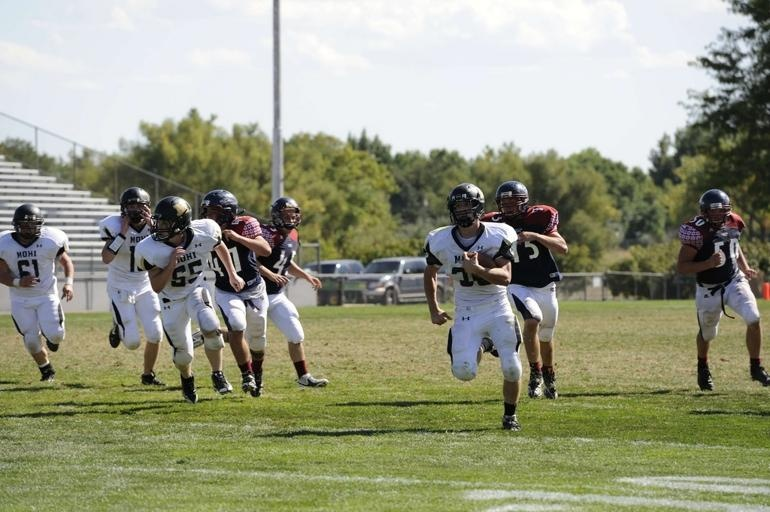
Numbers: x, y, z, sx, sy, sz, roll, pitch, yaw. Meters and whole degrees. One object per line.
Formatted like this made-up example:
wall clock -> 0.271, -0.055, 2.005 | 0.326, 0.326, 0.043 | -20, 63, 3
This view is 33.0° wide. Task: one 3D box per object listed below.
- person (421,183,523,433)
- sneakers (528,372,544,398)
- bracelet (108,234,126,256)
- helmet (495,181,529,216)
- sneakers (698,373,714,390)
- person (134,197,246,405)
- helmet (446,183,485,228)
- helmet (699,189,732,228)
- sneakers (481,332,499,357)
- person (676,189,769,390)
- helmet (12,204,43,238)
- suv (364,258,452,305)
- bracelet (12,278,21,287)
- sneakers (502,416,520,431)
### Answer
person -> 1.088, 0.638, 16.143 | 1.183, 3.073, 0.640 | 0, 0, 4
sneakers -> 2.060, 1.807, 17.769 | 0.137, 0.183, 0.401 | -2, 16, 1
bracelet -> -3.798, -0.165, 18.274 | 0.177, 0.287, 0.104 | 43, 2, -2
helmet -> 1.682, -0.717, 17.848 | 0.391, 0.385, 0.485 | -8, -18, 3
sneakers -> 4.484, 1.791, 18.160 | 0.251, 0.343, 0.212 | -5, -13, 12
person -> -2.658, 0.616, 17.189 | 1.244, 2.745, 0.592 | 1, 0, -33
helmet -> 1.052, -0.675, 16.347 | 0.477, 0.496, 0.587 | -1, 4, 37
helmet -> 4.612, -0.715, 18.330 | 0.436, 0.475, 0.518 | -4, 24, 3
sneakers -> 1.303, 1.166, 16.541 | 0.126, 0.169, 0.400 | -12, 10, -14
person -> 4.725, 0.486, 18.200 | 1.224, 2.821, 0.681 | 0, 0, 11
helmet -> -5.244, -0.507, 18.810 | 0.454, 0.451, 0.560 | -3, 9, -38
suv -> 0.253, 0.748, 36.420 | 2.332, 1.037, 1.235 | 3, -5, -37
bracelet -> -5.318, 0.388, 18.589 | 0.114, 0.081, 0.111 | 3, -6, -37
sneakers -> 1.567, 2.092, 16.167 | 0.228, 0.184, 0.329 | 0, 0, 4
